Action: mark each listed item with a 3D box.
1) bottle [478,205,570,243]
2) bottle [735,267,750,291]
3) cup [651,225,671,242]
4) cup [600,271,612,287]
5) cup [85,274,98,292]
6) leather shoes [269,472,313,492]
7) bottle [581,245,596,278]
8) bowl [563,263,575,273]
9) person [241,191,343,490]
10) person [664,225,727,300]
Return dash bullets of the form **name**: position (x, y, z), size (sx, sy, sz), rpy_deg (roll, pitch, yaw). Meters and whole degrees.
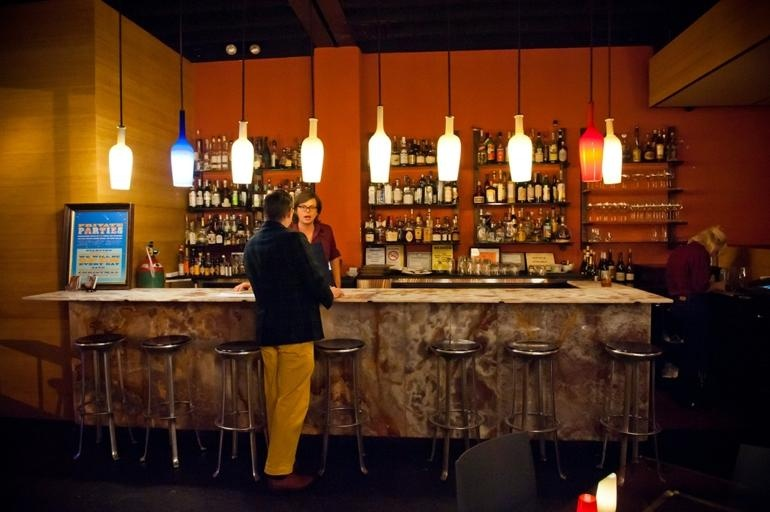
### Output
- **bottle**: position (1.883, -0.420, 8.872), size (1.294, 0.473, 0.401), rpy_deg (0, 0, 10)
- **bottle**: position (3.956, 0.256, 7.160), size (0.234, 0.252, 0.099), rpy_deg (-1, 0, -16)
- **cup**: position (3.788, -0.305, 8.864), size (0.223, 0.211, 0.115), rpy_deg (2, 3, 6)
- **cup**: position (2.670, 0.280, 7.847), size (0.125, 0.206, 0.127), rpy_deg (2, 4, 0)
- **cup**: position (-3.280, 0.293, 7.131), size (0.138, 0.174, 0.429), rpy_deg (-1, 1, -25)
- **leather shoes**: position (-0.910, 2.119, 6.242), size (0.415, 0.282, 0.159), rpy_deg (-2, 9, -7)
- **bottle**: position (2.779, 0.081, 8.822), size (0.224, 0.436, 0.314), rpy_deg (-1, 0, 5)
- **bowl**: position (2.490, 0.167, 8.763), size (0.129, 0.087, 0.128), rpy_deg (0, 1, 0)
- **person**: position (-0.944, 0.788, 6.196), size (0.802, 2.245, 0.363), rpy_deg (-1, 0, -11)
- **person**: position (3.664, 0.093, 7.613), size (0.632, 0.831, 0.354), rpy_deg (0, 0, 10)
